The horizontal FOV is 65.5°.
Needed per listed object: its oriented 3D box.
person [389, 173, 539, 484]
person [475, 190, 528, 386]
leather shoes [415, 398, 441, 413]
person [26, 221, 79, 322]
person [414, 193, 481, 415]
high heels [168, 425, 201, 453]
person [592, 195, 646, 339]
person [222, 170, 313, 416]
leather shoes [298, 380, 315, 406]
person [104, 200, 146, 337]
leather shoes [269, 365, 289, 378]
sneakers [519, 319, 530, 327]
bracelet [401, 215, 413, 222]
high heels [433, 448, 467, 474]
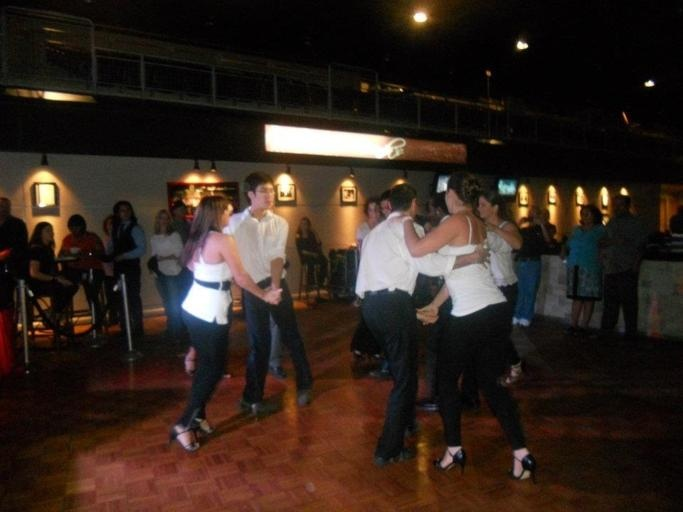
[{"bbox_3d":[1.140,0.609,4.791,1.102,2.704,0.533,0,7,7],"label":"person"},{"bbox_3d":[1.728,0.370,6.197,0.693,2.239,0.804,-5,0,14],"label":"person"},{"bbox_3d":[0.946,1.635,5.848,0.257,0.093,0.259,1,0,-1],"label":"leather shoes"},{"bbox_3d":[-4.258,0.266,7.844,0.607,1.547,0.886,-5,8,-28],"label":"person"},{"bbox_3d":[1.200,0.660,5.782,0.620,2.425,0.717,7,18,26],"label":"person"},{"bbox_3d":[-1.514,1.760,5.144,0.312,0.193,0.120,-7,22,24],"label":"high heels"},{"bbox_3d":[4.161,0.129,7.839,0.536,2.055,0.371,3,8,30],"label":"person"},{"bbox_3d":[-0.894,0.326,5.826,0.801,2.271,0.637,2,13,-4],"label":"person"},{"bbox_3d":[-0.393,1.512,5.999,0.186,0.350,0.219,1,3,11],"label":"leather shoes"},{"bbox_3d":[-3.310,0.214,8.192,0.484,2.121,0.605,-8,10,-44],"label":"person"},{"bbox_3d":[-0.792,1.436,6.640,0.099,0.117,0.247,0,0,-42],"label":"leather shoes"},{"bbox_3d":[2.962,1.079,8.618,0.111,0.082,0.110,8,-12,-36],"label":"sneakers"},{"bbox_3d":[0.604,-0.348,4.885,0.064,0.053,0.065,-8,15,-35],"label":"bracelet"},{"bbox_3d":[1.003,1.837,4.771,0.142,0.230,0.381,3,-9,-42],"label":"high heels"}]
